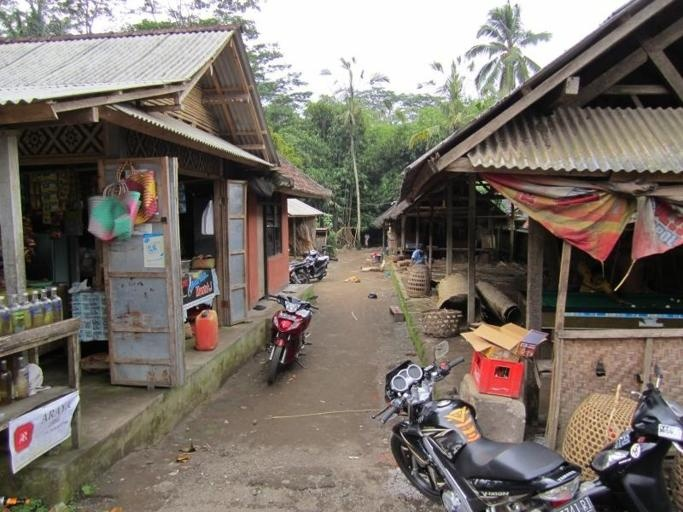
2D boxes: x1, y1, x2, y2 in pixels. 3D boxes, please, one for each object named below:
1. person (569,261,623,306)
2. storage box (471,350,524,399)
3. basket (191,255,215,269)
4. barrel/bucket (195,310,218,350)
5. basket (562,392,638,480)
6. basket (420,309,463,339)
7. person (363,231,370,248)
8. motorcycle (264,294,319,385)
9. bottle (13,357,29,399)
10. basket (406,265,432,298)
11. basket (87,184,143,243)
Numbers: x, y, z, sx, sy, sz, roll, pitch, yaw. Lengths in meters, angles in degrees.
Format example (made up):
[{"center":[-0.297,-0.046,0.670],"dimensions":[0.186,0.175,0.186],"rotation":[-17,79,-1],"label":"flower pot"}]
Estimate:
[{"center":[3.580,0.319,7.274],"dimensions":[0.486,0.415,1.056],"rotation":[5,9,20],"label":"person"},{"center":[1.715,1.303,5.752],"dimensions":[0.450,0.435,0.747],"rotation":[3,-7,8],"label":"storage box"},{"center":[-2.363,0.103,8.909],"dimensions":[0.426,0.199,0.274],"rotation":[-4,10,-31],"label":"basket"},{"center":[-2.055,1.116,7.878],"dimensions":[0.331,0.583,0.289],"rotation":[-1,9,-16],"label":"barrel/bucket"},{"center":[2.472,1.662,5.308],"dimensions":[0.723,0.747,0.778],"rotation":[22,1,19],"label":"basket"},{"center":[1.758,1.170,8.923],"dimensions":[0.505,0.341,0.518],"rotation":[0,-1,-4],"label":"basket"},{"center":[1.784,-1.230,36.127],"dimensions":[0.328,1.097,1.312],"rotation":[3,9,10],"label":"person"},{"center":[-0.849,1.271,8.330],"dimensions":[0.548,1.221,1.442],"rotation":[2,9,5],"label":"motorcycle"},{"center":[-3.206,1.205,5.165],"dimensions":[0.135,0.323,0.344],"rotation":[-4,11,-32],"label":"bottle"},{"center":[1.896,0.578,12.552],"dimensions":[0.549,0.801,0.558],"rotation":[3,9,9],"label":"basket"},{"center":[-2.789,-0.537,6.685],"dimensions":[0.701,0.738,0.572],"rotation":[2,-1,-11],"label":"basket"}]
